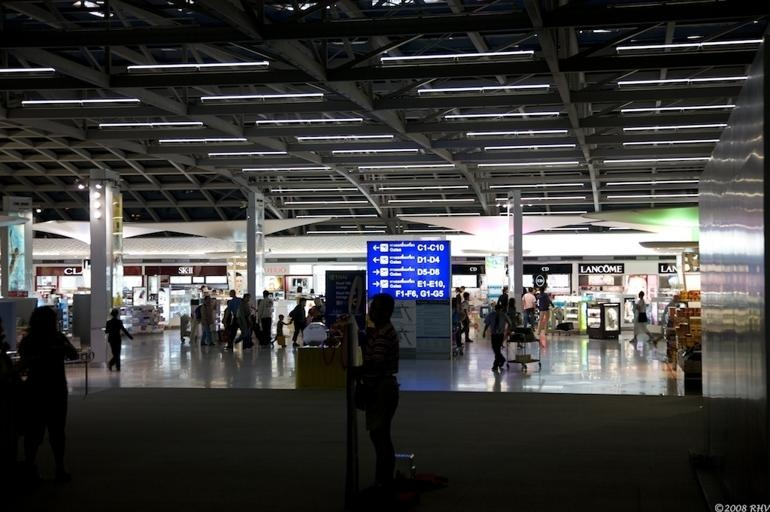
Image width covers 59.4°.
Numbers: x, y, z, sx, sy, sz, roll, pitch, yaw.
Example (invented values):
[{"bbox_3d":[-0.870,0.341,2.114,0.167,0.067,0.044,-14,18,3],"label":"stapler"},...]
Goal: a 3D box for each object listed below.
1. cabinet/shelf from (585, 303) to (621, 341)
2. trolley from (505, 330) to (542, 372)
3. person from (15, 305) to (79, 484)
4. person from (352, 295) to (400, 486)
[{"bbox_3d":[8.427,2.486,25.802,1.063,1.236,0.997,0,-2,-22],"label":"cabinet/shelf"},{"bbox_3d":[3.681,2.449,17.919,1.044,0.897,1.031,-3,-7,4],"label":"trolley"},{"bbox_3d":[-4.054,1.627,8.051,0.597,2.029,0.311,2,-5,-26],"label":"person"},{"bbox_3d":[-0.088,1.502,7.757,0.457,2.138,0.558,-1,-5,0],"label":"person"}]
